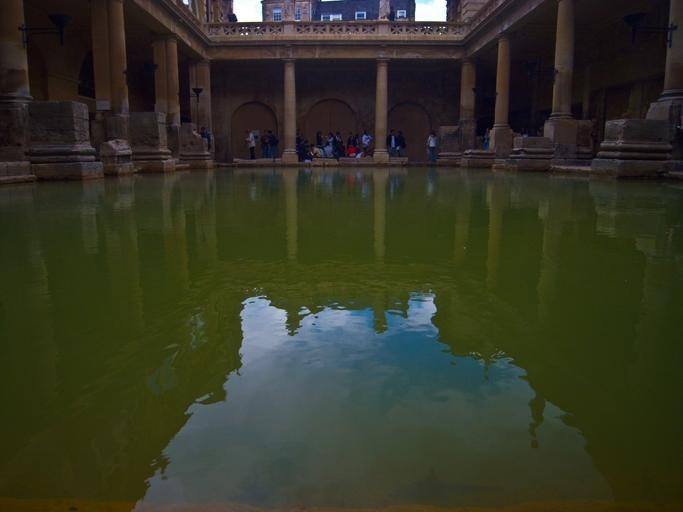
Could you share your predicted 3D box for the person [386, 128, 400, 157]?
[{"bbox_3d":[2.481,-5.295,25.607,0.646,1.224,2.038,1,12,5],"label":"person"}]
